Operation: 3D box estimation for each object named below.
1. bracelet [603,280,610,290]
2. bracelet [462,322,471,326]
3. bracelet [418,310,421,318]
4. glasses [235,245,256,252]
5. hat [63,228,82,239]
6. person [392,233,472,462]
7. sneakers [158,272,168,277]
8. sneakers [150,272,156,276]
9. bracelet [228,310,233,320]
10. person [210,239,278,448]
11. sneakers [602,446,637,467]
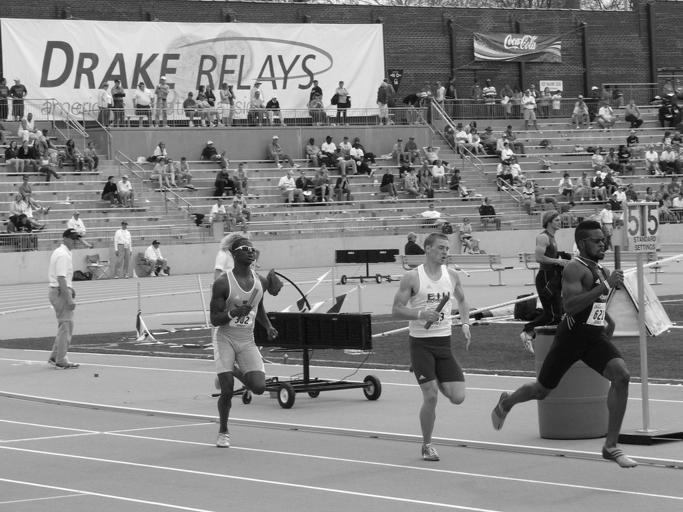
[{"bbox_3d":[4.495,0.469,25.389,0.121,0.157,0.120,0,3,24],"label":"bracelet"},{"bbox_3d":[2.211,1.167,26.158,0.116,0.057,0.069,-1,5,-9],"label":"bracelet"},{"bbox_3d":[1.365,0.984,25.875,0.073,0.123,0.061,-1,3,9],"label":"bracelet"},{"bbox_3d":[-1.615,-0.142,26.355,0.200,0.111,0.418,1,4,38],"label":"glasses"},{"bbox_3d":[-5.653,-0.496,31.607,0.293,0.152,0.201,-6,-2,28],"label":"hat"},{"bbox_3d":[1.609,1.523,26.042,1.129,3.842,1.002,-5,4,-44],"label":"person"},{"bbox_3d":[-6.010,0.570,51.657,0.232,0.116,0.453,0,3,25],"label":"sneakers"},{"bbox_3d":[-6.372,0.581,51.463,0.156,0.171,0.159,1,1,42],"label":"sneakers"},{"bbox_3d":[-1.915,1.004,26.164,0.127,0.144,0.075,-1,-7,-42],"label":"bracelet"},{"bbox_3d":[-1.751,1.460,26.638,0.953,3.716,1.015,-1,3,8],"label":"person"},{"bbox_3d":[4.630,3.303,25.166,0.614,0.277,0.265,20,17,19],"label":"sneakers"}]
